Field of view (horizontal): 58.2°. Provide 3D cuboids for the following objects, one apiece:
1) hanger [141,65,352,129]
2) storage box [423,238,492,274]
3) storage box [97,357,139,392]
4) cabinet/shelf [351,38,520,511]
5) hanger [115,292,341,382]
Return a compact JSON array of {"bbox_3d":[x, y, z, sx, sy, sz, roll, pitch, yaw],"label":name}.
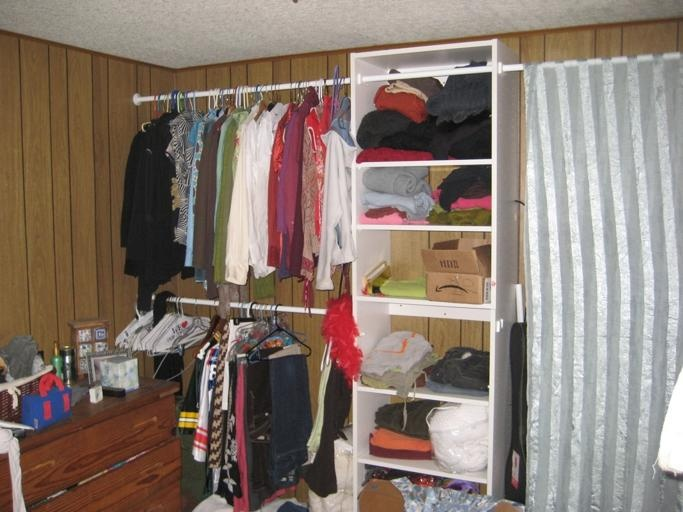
[{"bbox_3d":[-0.592,-0.972,3.816,1.528,0.223,0.486,-1,6,26],"label":"hanger"},{"bbox_3d":[0.621,0.013,3.201,0.334,0.135,0.361,3,9,27],"label":"storage box"},{"bbox_3d":[-1.115,0.597,3.097,0.157,0.169,0.165,2,0,28],"label":"storage box"},{"bbox_3d":[0.535,0.123,3.383,0.947,2.445,0.629,-2,4,19],"label":"cabinet/shelf"},{"bbox_3d":[-0.880,0.531,3.979,1.093,0.635,0.578,-2,5,13],"label":"hanger"}]
